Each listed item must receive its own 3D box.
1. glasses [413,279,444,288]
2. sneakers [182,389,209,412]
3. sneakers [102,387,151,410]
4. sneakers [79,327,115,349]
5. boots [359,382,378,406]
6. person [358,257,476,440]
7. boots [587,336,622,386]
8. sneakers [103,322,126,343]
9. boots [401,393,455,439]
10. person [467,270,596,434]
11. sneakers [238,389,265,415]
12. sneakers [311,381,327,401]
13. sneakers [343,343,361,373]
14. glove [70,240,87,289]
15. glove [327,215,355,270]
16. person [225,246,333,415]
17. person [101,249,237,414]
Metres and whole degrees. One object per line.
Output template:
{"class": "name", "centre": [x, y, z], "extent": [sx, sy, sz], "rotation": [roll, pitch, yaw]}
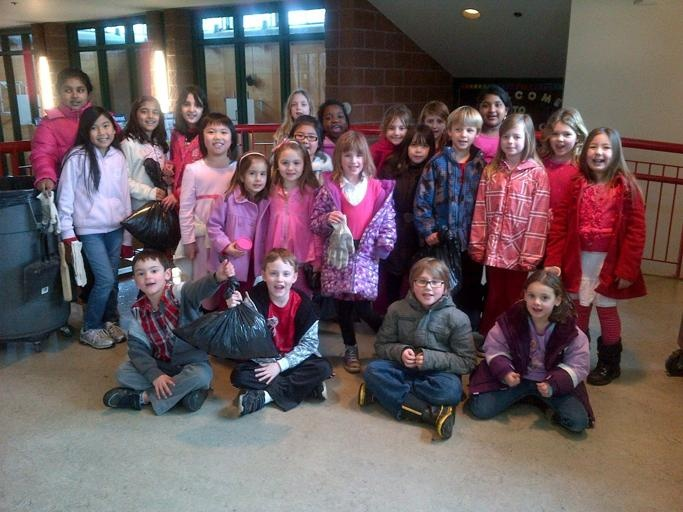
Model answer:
{"class": "glasses", "centre": [0.505, 0.153, 2.822], "extent": [0.156, 0.050, 0.035], "rotation": [1, 16, 5]}
{"class": "sneakers", "centre": [-0.831, 0.816, 2.802], "extent": [0.101, 0.046, 0.128], "rotation": [-41, 15, 11]}
{"class": "sneakers", "centre": [-1.205, 0.792, 2.834], "extent": [0.281, 0.103, 0.119], "rotation": [-3, 7, -17]}
{"class": "sneakers", "centre": [-1.732, 0.579, 3.534], "extent": [0.253, 0.105, 0.114], "rotation": [7, 24, 20]}
{"class": "boots", "centre": [0.148, 0.789, 2.853], "extent": [0.062, 0.158, 0.059], "rotation": [-2, 14, -3]}
{"class": "person", "centre": [0.485, 0.493, 2.847], "extent": [0.592, 0.871, 0.666], "rotation": [-4, 10, -38]}
{"class": "boots", "centre": [1.637, 0.664, 3.103], "extent": [0.276, 0.267, 0.130], "rotation": [-14, 17, -25]}
{"class": "sneakers", "centre": [-1.634, 0.551, 3.569], "extent": [0.211, 0.091, 0.085], "rotation": [32, 35, 28]}
{"class": "boots", "centre": [0.453, 0.858, 2.645], "extent": [0.288, 0.122, 0.186], "rotation": [6, 17, 22]}
{"class": "person", "centre": [1.077, 0.504, 2.723], "extent": [0.680, 0.775, 0.575], "rotation": [8, 20, 38]}
{"class": "sneakers", "centre": [-0.503, 0.811, 2.753], "extent": [0.088, 0.071, 0.209], "rotation": [3, 0, 5]}
{"class": "sneakers", "centre": [-0.128, 0.792, 2.870], "extent": [0.053, 0.068, 0.121], "rotation": [-5, -26, -13]}
{"class": "sneakers", "centre": [0.066, 0.681, 3.245], "extent": [0.071, 0.096, 0.209], "rotation": [-1, 6, -6]}
{"class": "glove", "centre": [-1.758, 0.056, 3.349], "extent": [0.093, 0.288, 0.083], "rotation": [-6, 2, 38]}
{"class": "glove", "centre": [-0.011, -0.074, 3.108], "extent": [0.217, 0.380, 0.108], "rotation": [23, 46, 18]}
{"class": "person", "centre": [-0.364, 0.411, 2.878], "extent": [0.583, 0.853, 0.438], "rotation": [-4, 17, -14]}
{"class": "person", "centre": [-0.958, 0.427, 2.844], "extent": [0.704, 0.822, 0.693], "rotation": [-1, 12, 6]}
